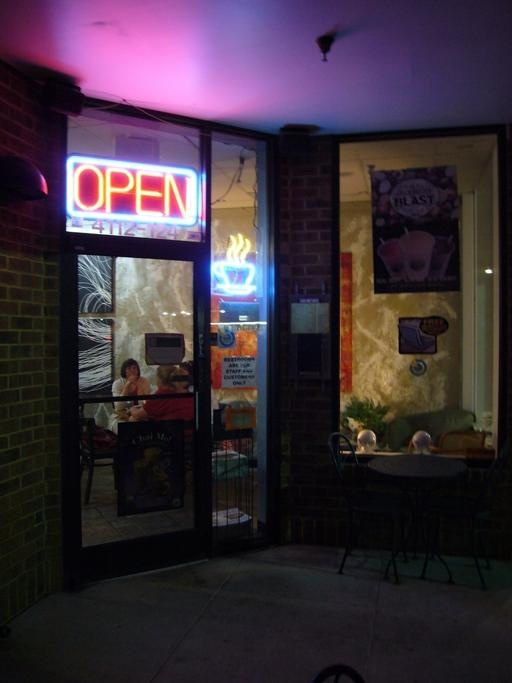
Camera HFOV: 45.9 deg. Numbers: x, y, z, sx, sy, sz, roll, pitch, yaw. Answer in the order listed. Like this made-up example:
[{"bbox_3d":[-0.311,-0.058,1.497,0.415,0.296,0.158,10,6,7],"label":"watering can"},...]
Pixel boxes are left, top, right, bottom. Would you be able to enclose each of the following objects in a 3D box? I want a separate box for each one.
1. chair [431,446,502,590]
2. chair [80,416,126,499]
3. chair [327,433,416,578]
[{"bbox_3d":[1.354,1.174,3.977,0.401,0.717,0.423,-9,-23,16],"label":"chair"},{"bbox_3d":[-0.951,0.726,3.742,0.306,0.451,0.322,-7,-9,39],"label":"chair"},{"bbox_3d":[0.756,1.051,3.955,0.576,0.860,0.531,5,4,33],"label":"chair"}]
